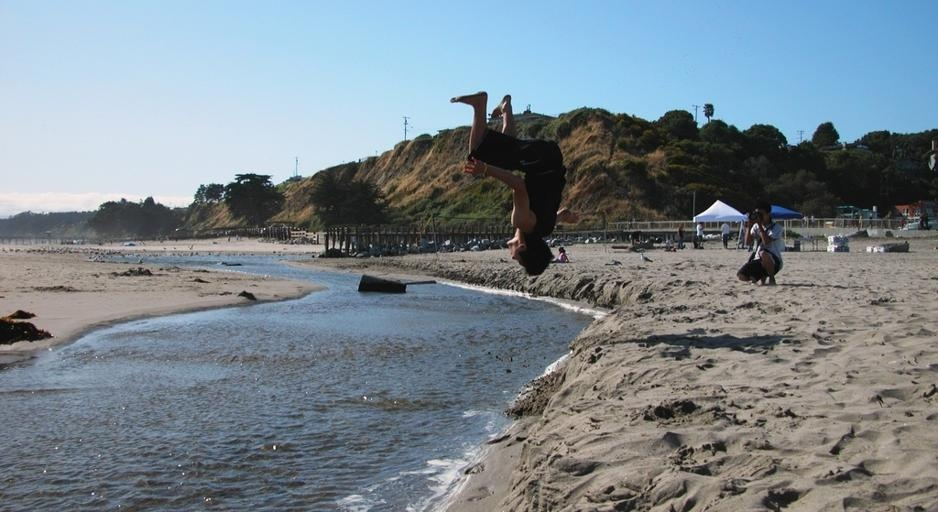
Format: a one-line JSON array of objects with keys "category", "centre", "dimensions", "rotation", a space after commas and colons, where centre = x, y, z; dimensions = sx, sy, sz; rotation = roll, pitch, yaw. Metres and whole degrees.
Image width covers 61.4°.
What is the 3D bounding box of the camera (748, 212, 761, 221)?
[{"category": "camera", "centre": [7.664, -1.101, 21.307], "dimensions": [0.242, 0.211, 0.513], "rotation": [2, 2, 13]}]
